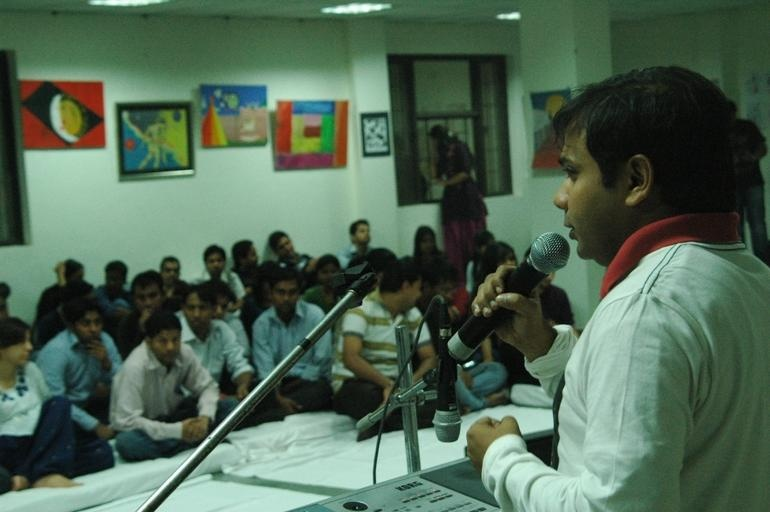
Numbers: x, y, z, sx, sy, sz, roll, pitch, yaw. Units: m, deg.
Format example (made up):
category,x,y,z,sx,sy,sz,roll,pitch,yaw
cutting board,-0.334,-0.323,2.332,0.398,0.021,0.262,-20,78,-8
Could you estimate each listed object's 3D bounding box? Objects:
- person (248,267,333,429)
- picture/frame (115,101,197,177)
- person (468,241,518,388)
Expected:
category,x,y,z,sx,sy,sz,roll,pitch,yaw
person,-0.446,0.436,4.243,0.570,0.873,0.612,-3,6,-10
picture/frame,-1.022,-0.518,3.693,0.327,0.330,0.033,-3,1,-31
person,0.612,0.340,4.897,0.199,0.809,0.430,2,4,-16
